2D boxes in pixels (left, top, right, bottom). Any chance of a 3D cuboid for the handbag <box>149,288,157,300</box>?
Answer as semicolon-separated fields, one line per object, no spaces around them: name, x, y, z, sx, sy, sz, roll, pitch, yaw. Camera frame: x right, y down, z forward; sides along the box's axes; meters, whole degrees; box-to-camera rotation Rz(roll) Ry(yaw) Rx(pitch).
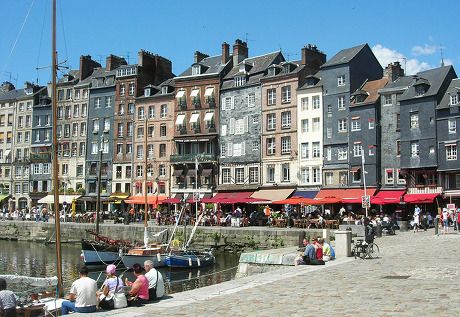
handbag;-4.941;8.877;45.537;0.520;0.803;0.156;-2;-9;-8

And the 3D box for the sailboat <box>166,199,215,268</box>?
sailboat;-3.243;8.034;67.016;3.553;4.921;7.771;-6;-9;19

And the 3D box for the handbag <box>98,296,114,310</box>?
handbag;-7.763;9.327;45.004;0.945;0.865;0.671;-2;-4;14

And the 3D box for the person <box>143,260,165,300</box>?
person;-4.906;8.026;46.102;1.178;2.537;1.230;-2;-5;-21

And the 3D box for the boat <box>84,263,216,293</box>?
boat;-5.900;9.284;53.879;2.663;1.938;11.225;-9;-11;33
